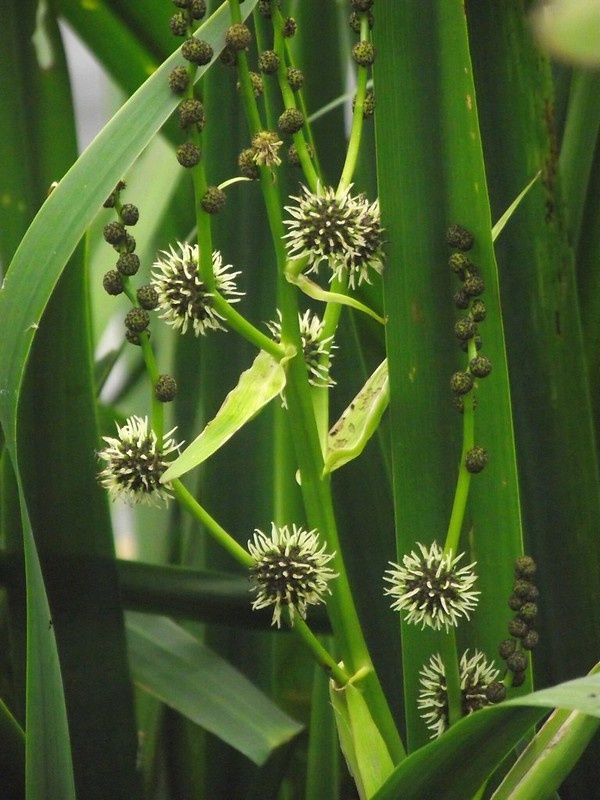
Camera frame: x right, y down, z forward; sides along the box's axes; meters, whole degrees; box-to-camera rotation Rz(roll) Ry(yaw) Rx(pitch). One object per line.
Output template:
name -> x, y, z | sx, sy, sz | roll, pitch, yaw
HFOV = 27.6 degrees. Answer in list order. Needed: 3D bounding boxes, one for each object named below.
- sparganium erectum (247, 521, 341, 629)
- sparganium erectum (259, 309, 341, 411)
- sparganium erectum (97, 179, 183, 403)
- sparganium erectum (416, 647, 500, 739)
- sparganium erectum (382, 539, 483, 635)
sparganium erectum -> 0.003, 0.107, 0.745 | 0.050, 0.058, 0.059 | -2, -11, 29
sparganium erectum -> 0.007, -0.032, 0.798 | 0.053, 0.033, 0.062 | 8, -47, 18
sparganium erectum -> -0.112, -0.074, 0.845 | 0.028, 0.031, 0.168 | -11, -81, 9
sparganium erectum -> 0.097, 0.194, 0.754 | 0.052, 0.065, 0.031 | -15, -29, 18
sparganium erectum -> 0.074, 0.110, 0.704 | 0.035, 0.018, 0.036 | 12, -11, 45
